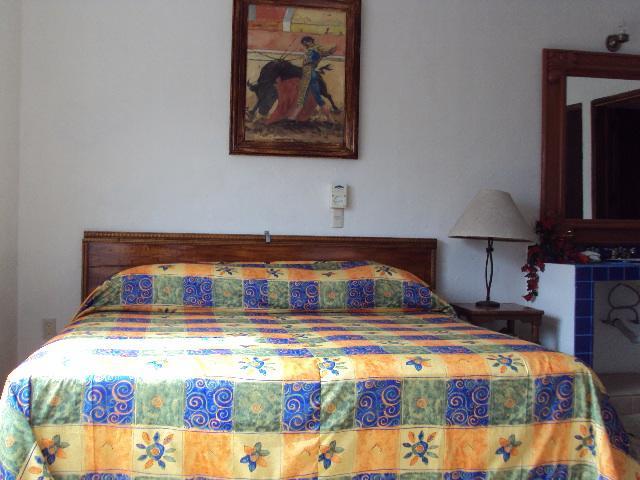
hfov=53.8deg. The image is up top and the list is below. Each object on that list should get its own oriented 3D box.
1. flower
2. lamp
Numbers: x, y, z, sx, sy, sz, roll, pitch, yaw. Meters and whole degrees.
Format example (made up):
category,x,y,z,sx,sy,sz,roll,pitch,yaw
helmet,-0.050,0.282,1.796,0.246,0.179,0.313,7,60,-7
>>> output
category,x,y,z,sx,sy,sz,roll,pitch,yaw
flower,1.443,0.116,4.079,0.519,0.657,0.492,1,-3,-1
lamp,1.178,0.072,4.162,0.673,0.879,0.707,3,-2,3
